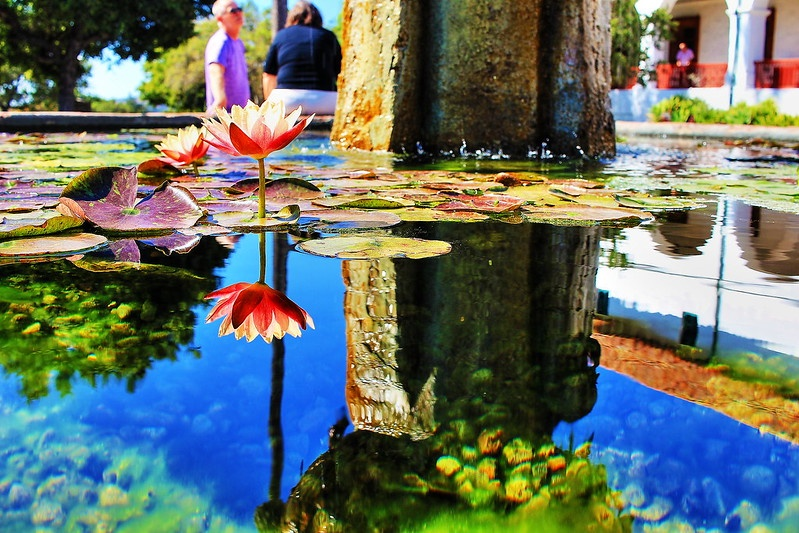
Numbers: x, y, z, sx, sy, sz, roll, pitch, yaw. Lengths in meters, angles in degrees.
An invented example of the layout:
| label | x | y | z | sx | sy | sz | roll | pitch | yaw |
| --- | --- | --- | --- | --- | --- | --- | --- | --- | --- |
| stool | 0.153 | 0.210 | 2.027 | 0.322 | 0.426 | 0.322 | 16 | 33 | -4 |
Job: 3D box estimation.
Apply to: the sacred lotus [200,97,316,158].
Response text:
| label | x | y | z | sx | sy | sz | roll | pitch | yaw |
| --- | --- | --- | --- | --- | --- | --- | --- | --- | --- |
| sacred lotus | -0.319 | -0.295 | 1.473 | 0.197 | 0.108 | 0.190 | -8 | 7 | -42 |

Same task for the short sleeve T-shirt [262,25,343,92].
| label | x | y | z | sx | sy | sz | roll | pitch | yaw |
| --- | --- | --- | --- | --- | --- | --- | --- | --- | --- |
| short sleeve T-shirt | -0.938 | -2.195 | 6.795 | 0.944 | 0.759 | 0.531 | 6 | 24 | 7 |

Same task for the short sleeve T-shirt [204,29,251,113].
| label | x | y | z | sx | sy | sz | roll | pitch | yaw |
| --- | --- | --- | --- | --- | --- | --- | --- | --- | --- |
| short sleeve T-shirt | -1.577 | -1.837 | 5.961 | 0.332 | 0.658 | 0.777 | 5 | 18 | 4 |

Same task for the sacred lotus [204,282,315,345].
| label | x | y | z | sx | sy | sz | roll | pitch | yaw |
| --- | --- | --- | --- | --- | --- | --- | --- | --- | --- |
| sacred lotus | -0.253 | 0.075 | 1.112 | 0.160 | 0.038 | 0.255 | -6 | 15 | -26 |
